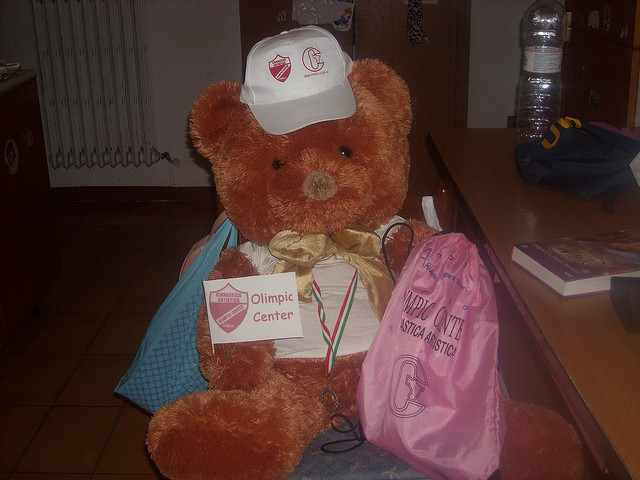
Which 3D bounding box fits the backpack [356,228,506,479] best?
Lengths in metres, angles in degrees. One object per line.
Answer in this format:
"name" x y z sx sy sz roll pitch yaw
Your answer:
"backpack" 0.272 0.248 1.072 0.296 0.401 0.325 16 31 33
